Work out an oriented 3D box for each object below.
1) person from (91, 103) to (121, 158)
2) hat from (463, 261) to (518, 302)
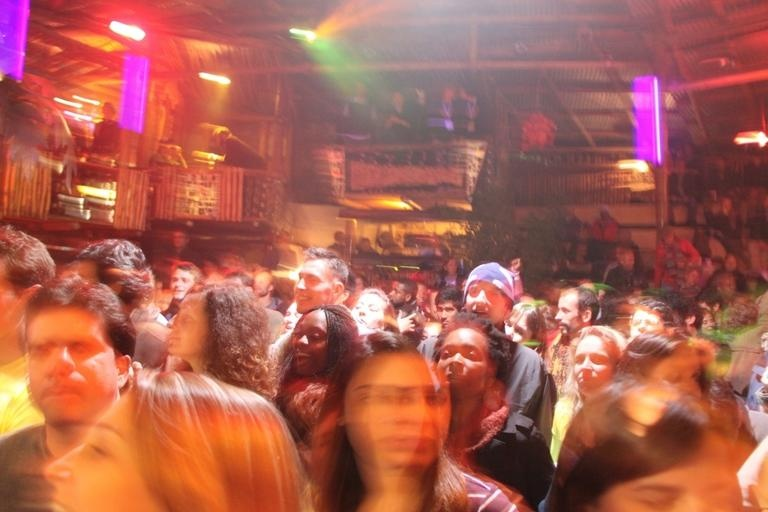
[{"bbox_3d":[-4.993,-2.278,10.575,0.446,1.028,0.350,3,-1,-28],"label":"person"},{"bbox_3d":[1.056,0.213,5.696,0.364,0.422,0.522,3,6,35],"label":"hat"}]
